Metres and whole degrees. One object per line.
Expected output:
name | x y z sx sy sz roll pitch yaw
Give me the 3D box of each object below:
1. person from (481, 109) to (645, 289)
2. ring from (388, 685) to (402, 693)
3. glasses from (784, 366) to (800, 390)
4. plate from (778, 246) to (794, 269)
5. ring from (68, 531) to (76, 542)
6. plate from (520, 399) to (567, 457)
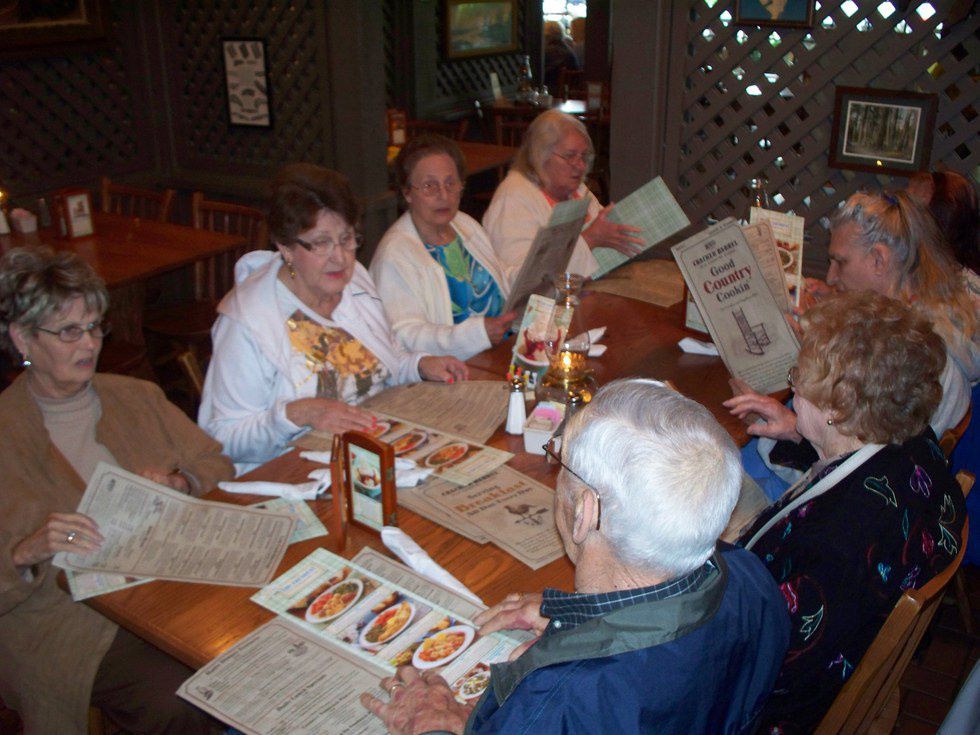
person | 0.367 -0.866 3.976 0.849 0.986 0.755 6 18 -3
ring | -0.206 0.679 1.518 0.015 0.008 0.019 -22 -4 0
glasses | 0.939 0.028 2.225 0.064 0.023 0.063 22 36 16
plate | 1.172 -0.437 2.829 0.064 0.073 0.026 1 -19 0
ring | -1.099 0.440 1.868 0.019 0.027 0.008 1 25 -4
plate | 0.166 0.185 2.293 0.103 0.074 0.173 14 32 19
